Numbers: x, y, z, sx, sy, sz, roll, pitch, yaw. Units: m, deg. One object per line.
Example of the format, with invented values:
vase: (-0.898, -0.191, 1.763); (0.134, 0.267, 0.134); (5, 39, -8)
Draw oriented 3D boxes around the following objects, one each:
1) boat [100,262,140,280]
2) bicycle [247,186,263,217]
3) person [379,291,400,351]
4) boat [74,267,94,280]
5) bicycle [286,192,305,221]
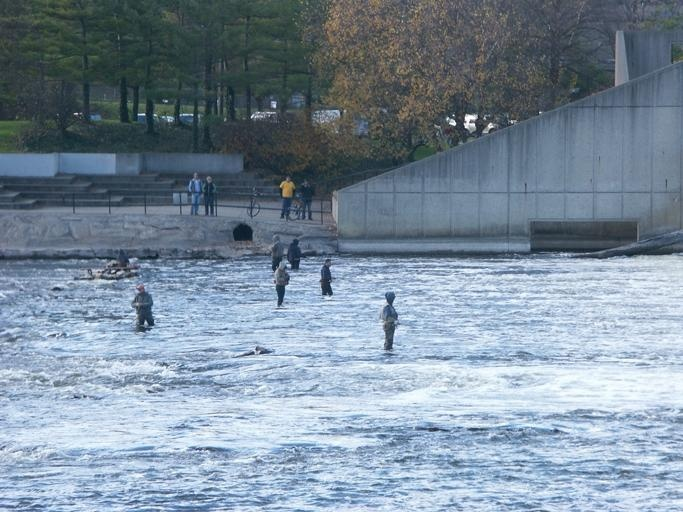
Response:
boat: (-11.981, 0.724, 112.966); (2.361, 0.781, 1.401); (1, 1, -24)
bicycle: (-5.040, -3.175, 123.342); (1.059, 1.293, 2.099); (2, -3, -18)
person: (2.282, 2.997, 100.681); (0.831, 2.788, 1.547); (1, 1, 1)
boat: (-13.734, 0.841, 112.792); (1.097, 0.600, 2.035); (1, 0, -6)
bicycle: (-2.684, -2.910, 123.251); (0.897, 1.096, 1.796); (1, 0, -1)
